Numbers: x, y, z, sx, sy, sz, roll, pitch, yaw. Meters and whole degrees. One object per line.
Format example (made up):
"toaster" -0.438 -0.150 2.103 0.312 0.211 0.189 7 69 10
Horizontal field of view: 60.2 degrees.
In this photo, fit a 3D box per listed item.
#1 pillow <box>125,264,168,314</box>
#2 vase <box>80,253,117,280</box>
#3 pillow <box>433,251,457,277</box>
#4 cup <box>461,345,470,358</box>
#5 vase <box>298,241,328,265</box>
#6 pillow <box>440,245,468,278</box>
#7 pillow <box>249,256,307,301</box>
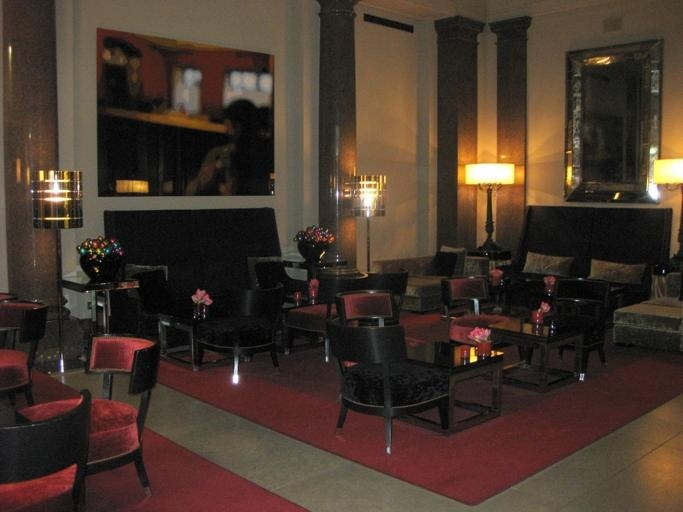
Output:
"pillow" -1.985 0.338 6.194 0.160 0.488 0.565 -1 3 -12
"vase" -2.361 0.082 5.721 0.302 0.184 0.281 -4 9 -23
"pillow" 1.593 0.115 9.077 0.160 0.346 0.393 19 -10 -43
"cup" 0.983 0.769 4.698 0.066 0.107 0.063 -2 1 0
"vase" -0.397 -0.050 7.998 0.355 0.236 0.334 -1 2 -29
"pillow" 1.801 0.063 9.373 0.485 0.439 0.190 8 -11 -4
"pillow" -0.824 0.273 7.661 0.589 0.710 0.653 -2 2 -44
